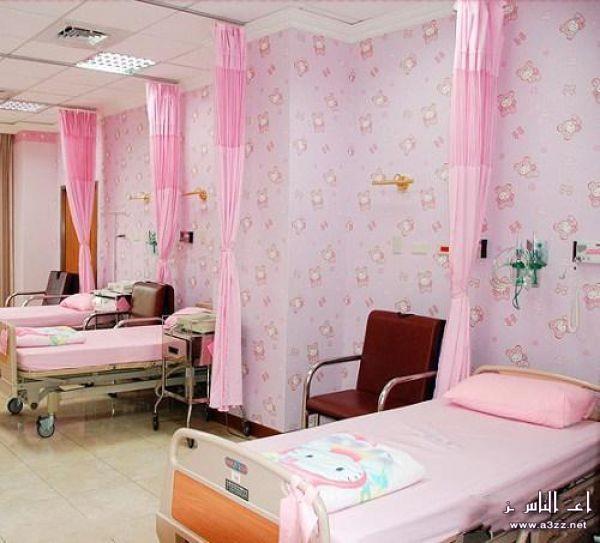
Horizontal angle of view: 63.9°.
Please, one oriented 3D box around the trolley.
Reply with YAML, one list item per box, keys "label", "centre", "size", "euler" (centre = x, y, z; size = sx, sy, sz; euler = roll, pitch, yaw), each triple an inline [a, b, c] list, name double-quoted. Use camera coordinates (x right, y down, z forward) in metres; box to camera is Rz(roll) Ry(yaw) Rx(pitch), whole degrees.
- label: "trolley"
  centre: [-0.861, 0.895, 4.571]
  size: [0.969, 1.478, 0.878]
  euler: [3, -1, -38]
